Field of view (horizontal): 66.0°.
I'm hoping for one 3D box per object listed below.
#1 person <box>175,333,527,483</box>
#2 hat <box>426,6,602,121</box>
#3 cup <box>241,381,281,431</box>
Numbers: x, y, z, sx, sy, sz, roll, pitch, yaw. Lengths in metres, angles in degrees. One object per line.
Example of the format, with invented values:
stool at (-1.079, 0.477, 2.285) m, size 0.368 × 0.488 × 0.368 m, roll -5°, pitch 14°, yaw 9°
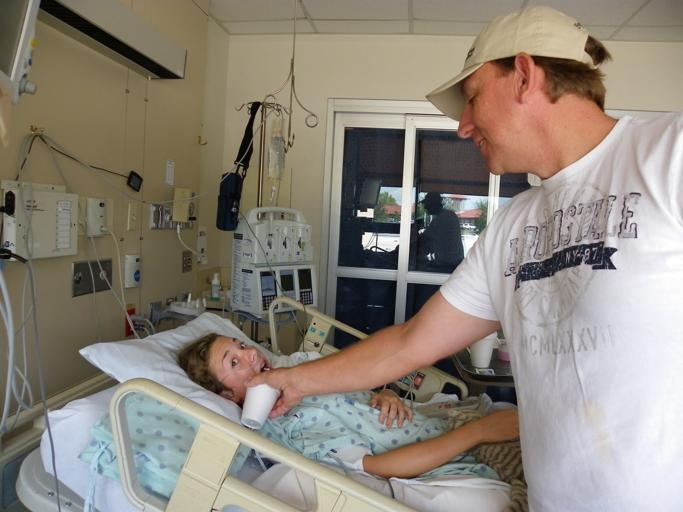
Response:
person at (-0.046, 0.620, 2.058) m, size 1.027 × 0.224 × 0.574 m, roll 23°, pitch 4°, yaw 11°
hat at (0.492, -0.576, 1.556) m, size 0.475 × 0.266 × 0.320 m, roll -2°, pitch 1°, yaw 24°
cup at (-0.284, 0.506, 1.835) m, size 0.143 × 0.148 × 0.140 m, roll 16°, pitch -12°, yaw 4°
